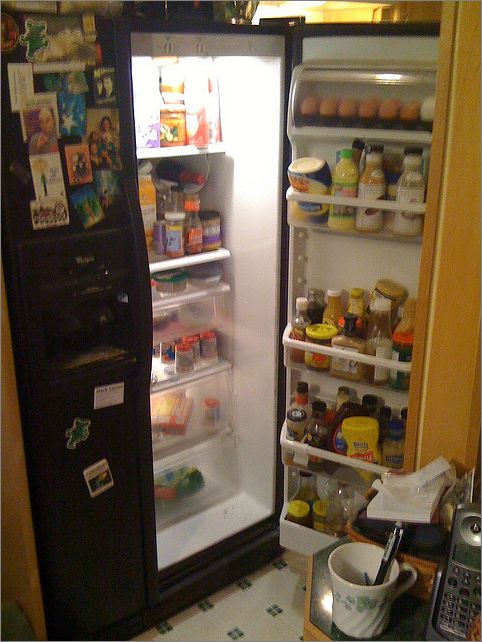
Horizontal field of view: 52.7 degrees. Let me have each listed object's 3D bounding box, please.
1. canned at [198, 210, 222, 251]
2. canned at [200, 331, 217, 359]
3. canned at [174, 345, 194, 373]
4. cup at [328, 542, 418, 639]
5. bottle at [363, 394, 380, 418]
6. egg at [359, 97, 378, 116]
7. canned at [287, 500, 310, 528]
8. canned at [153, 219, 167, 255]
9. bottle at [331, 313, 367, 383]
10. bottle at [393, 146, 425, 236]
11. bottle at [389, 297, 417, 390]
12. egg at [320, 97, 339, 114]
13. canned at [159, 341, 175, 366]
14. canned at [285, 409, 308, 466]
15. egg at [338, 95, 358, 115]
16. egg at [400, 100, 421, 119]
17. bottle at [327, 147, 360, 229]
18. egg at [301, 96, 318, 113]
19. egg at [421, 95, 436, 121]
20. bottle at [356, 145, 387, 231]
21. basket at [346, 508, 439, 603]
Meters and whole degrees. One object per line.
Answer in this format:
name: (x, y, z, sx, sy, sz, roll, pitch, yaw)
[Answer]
canned: (-0.105, -0.336, 1.755, 0.096, 0.138, 0.108, 9, 18, 29)
canned: (-0.132, 0.087, 1.939, 0.074, 0.159, 0.085, -1, 5, -8)
canned: (-0.215, 0.140, 1.827, 0.074, 0.149, 0.084, 0, 4, -19)
cup: (0.201, 0.379, 0.752, 0.128, 0.114, 0.087, -6, 18, -40)
bottle: (0.376, 0.246, 1.415, 0.032, 0.070, 0.038, -7, 19, -15)
egg: (0.313, -0.521, 1.187, 0.035, 0.048, 0.022, 10, -14, 7)
canned: (0.191, 0.634, 1.614, 0.059, 0.088, 0.072, -1, 9, -6)
canned: (-0.268, -0.286, 1.612, 0.051, 0.118, 0.052, 22, 32, 40)
bottle: (0.304, 0.073, 1.361, 0.095, 0.220, 0.056, 18, 34, 30)
bottle: (0.405, -0.308, 1.162, 0.068, 0.203, 0.116, 4, 17, 20)
bottle: (0.431, 0.058, 1.298, 0.052, 0.248, 0.141, 4, 17, 18)
egg: (0.223, -0.547, 1.235, 0.047, 0.044, 0.026, 1, 16, 10)
canned: (-0.287, 0.120, 1.885, 0.058, 0.140, 0.069, 1, 6, -2)
canned: (0.172, 0.352, 1.510, 0.068, 0.146, 0.079, 11, 25, 24)
egg: (0.267, -0.539, 1.212, 0.039, 0.055, 0.023, 4, -8, 9)
egg: (0.396, -0.495, 1.141, 0.051, 0.040, 0.031, 12, 22, 36)
bottle: (0.268, -0.341, 1.268, 0.091, 0.209, 0.093, -1, 16, 0)
egg: (0.177, -0.558, 1.257, 0.034, 0.046, 0.042, 0, 23, 5)
egg: (0.426, -0.489, 1.114, 0.026, 0.054, 0.071, 3, 19, 17)
bottle: (0.330, -0.329, 1.219, 0.070, 0.209, 0.097, 1, 16, 8)
basket: (0.239, 0.381, 0.792, 0.122, 0.055, 0.086, 27, 15, 34)
